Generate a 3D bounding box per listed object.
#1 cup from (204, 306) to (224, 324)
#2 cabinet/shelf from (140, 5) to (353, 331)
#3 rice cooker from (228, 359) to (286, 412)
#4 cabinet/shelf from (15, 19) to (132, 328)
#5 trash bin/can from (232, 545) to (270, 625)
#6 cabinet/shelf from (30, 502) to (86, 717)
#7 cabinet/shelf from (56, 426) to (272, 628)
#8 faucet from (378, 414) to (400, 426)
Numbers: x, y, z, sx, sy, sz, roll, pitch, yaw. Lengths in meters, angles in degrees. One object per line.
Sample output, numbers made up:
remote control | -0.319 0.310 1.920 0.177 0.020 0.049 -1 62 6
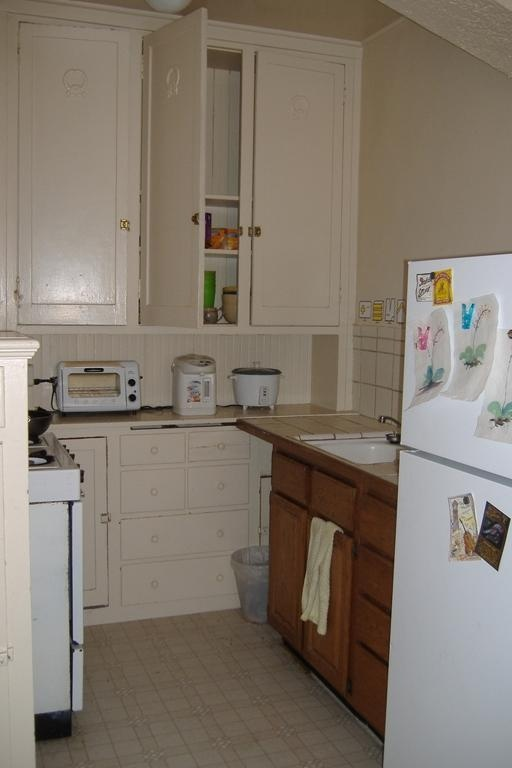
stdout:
cup | -0.202 -0.326 2.919 0.063 0.073 0.099 -1 2 28
cabinet/shelf | -0.024 -0.882 2.823 0.924 1.361 0.663 0 6 -15
rice cooker | 0.020 0.005 2.934 0.192 0.232 0.167 -2 10 -20
cabinet/shelf | -0.734 -0.861 2.565 0.483 1.224 0.140 0 1 -20
trash bin/can | -0.025 0.882 2.673 0.180 0.275 0.202 -1 5 -22
cabinet/shelf | -0.567 0.651 1.749 0.141 0.637 0.087 0 1 -21
cabinet/shelf | -0.507 0.442 3.114 1.076 1.064 0.600 -1 5 -22
faucet | 0.561 0.155 2.565 0.147 0.062 0.036 6 -9 -35
